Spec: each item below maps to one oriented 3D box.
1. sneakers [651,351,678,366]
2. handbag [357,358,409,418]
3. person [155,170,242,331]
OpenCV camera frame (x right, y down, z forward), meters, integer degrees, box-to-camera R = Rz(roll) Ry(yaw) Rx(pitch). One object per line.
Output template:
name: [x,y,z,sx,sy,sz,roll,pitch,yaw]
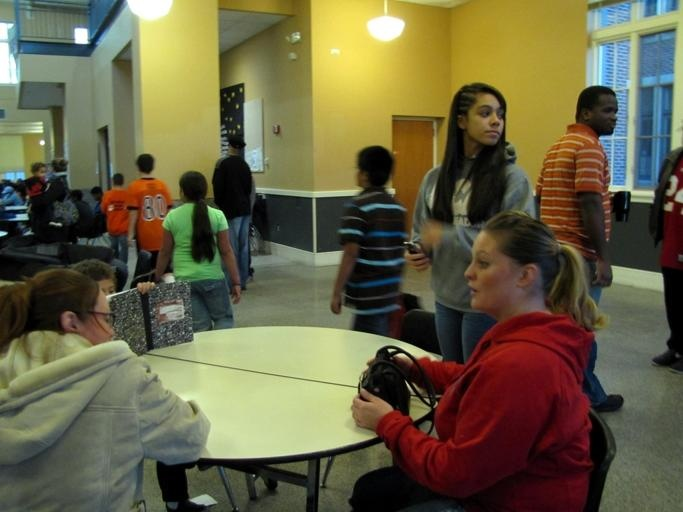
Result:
sneakers: [2.330,0.733,4.197,0.219,0.093,0.078,-3,1,-17]
handbag: [0.157,0.416,2.014,0.140,0.269,0.256,-5,-1,14]
person: [-0.979,0.159,3.952,0.595,1.494,0.416,-2,12,-6]
